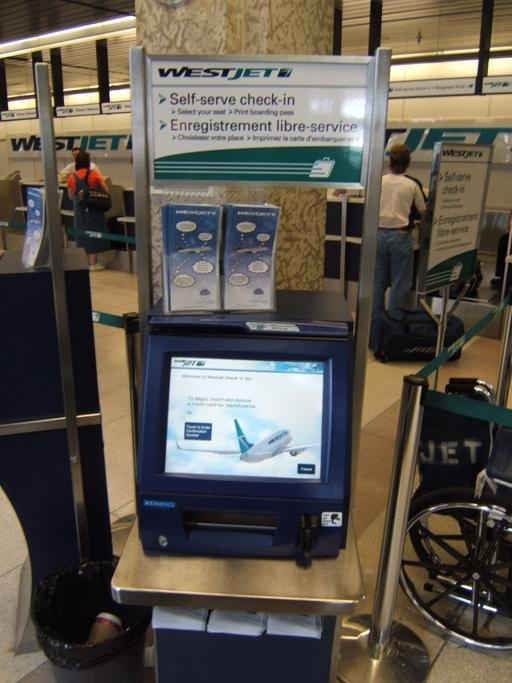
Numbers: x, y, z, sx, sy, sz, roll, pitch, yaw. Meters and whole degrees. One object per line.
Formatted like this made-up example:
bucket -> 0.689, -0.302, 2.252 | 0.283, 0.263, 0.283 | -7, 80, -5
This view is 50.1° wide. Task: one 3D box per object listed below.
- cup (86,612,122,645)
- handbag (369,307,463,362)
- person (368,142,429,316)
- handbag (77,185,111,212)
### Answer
cup -> -0.412, 0.788, 1.483 | 0.073, 0.050, 0.096 | 3, 19, 8
handbag -> 1.240, -0.054, 4.485 | 0.578, 0.370, 0.424 | -1, 26, -2
person -> 1.270, -0.949, 4.843 | 0.385, 1.486, 0.295 | 4, 20, 11
handbag -> -1.566, -1.383, 5.311 | 0.403, 0.211, 0.386 | 4, 14, -5
